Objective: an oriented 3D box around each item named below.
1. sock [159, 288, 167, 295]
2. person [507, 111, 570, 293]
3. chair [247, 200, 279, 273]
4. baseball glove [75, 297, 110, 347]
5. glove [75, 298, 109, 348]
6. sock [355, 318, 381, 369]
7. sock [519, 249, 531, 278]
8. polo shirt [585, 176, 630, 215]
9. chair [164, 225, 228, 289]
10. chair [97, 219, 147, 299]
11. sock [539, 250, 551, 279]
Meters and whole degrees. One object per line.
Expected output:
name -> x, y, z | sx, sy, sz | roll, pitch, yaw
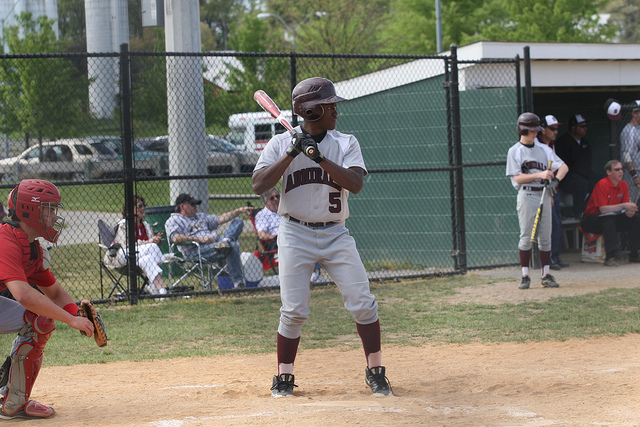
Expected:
sock -> -2.625, 1.299, 18.028 | 0.115, 0.085, 0.148 | -4, -1, -23
person -> 3.734, -0.165, 18.269 | 1.143, 3.056, 1.078 | 0, 0, 1
chair -> -0.975, 0.509, 18.821 | 0.500, 1.502, 0.499 | 0, 0, -21
baseball glove -> -3.019, 1.443, 14.353 | 0.460, 0.665, 0.353 | 2, -8, 0
glove -> -3.101, 1.472, 14.445 | 0.283, 0.829, 0.343 | -19, -10, 10
sock -> 0.767, 1.808, 14.746 | 0.217, 0.649, 0.204 | 9, -9, 7
sock -> 3.499, 0.814, 18.266 | 0.178, 0.461, 0.402 | -2, 6, 9
polo shirt -> 5.240, -0.356, 19.395 | 0.563, 0.743, 0.470 | -2, 0, 9
chair -> -2.108, 0.748, 18.489 | 1.025, 1.053, 1.085 | -4, 6, -8
chair -> -3.613, 0.870, 18.255 | 0.672, 1.538, 0.746 | 14, -2, 20
sock -> 3.823, 0.836, 18.203 | 0.166, 0.492, 0.239 | -2, 6, 12
